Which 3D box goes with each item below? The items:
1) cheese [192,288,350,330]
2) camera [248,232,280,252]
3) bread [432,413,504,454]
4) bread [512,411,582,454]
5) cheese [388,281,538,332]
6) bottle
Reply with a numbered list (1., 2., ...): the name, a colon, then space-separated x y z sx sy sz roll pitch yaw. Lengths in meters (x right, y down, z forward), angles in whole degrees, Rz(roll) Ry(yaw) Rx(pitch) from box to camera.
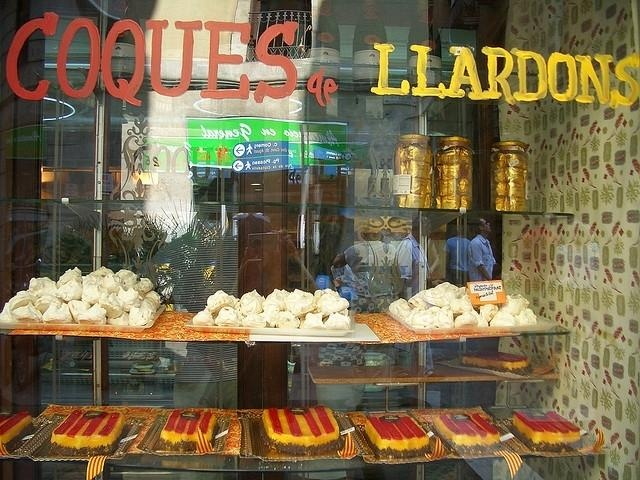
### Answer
1. cheese: -0.160 0.218 2.028 0.497 0.127 0.342 0 1 -4
2. camera: -0.207 0.002 2.176 0.099 0.065 0.022 0 10 0
3. bread: 0.504 0.656 2.109 0.234 0.121 0.274 1 1 3
4. bread: 0.801 0.658 2.116 0.213 0.114 0.182 -4 6 2
5. cheese: 0.501 0.219 2.113 0.451 0.169 0.306 0 3 -16
6. bottle: 0.490 -0.260 2.281 0.410 0.307 0.303 -2 5 -6
